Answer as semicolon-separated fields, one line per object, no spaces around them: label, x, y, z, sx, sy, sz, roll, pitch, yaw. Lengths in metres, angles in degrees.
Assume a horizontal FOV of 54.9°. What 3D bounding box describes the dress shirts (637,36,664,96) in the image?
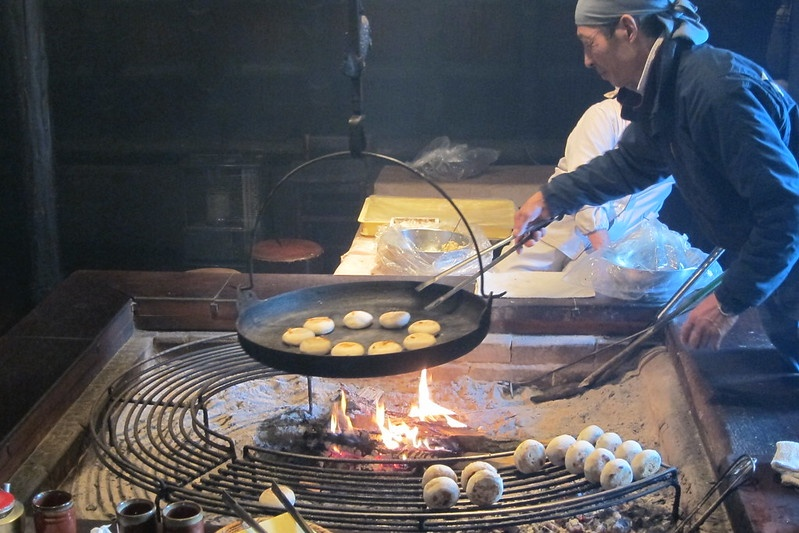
dress shirts;1.177;-0.948;3.649;0.051;0.196;0.203;18;16;11

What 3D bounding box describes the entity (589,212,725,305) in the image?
entity;1.396;-0.021;4.265;0.537;0.227;0.534;10;33;41

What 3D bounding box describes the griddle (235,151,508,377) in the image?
griddle;-0.189;-0.066;3.906;1.434;0.995;1.310;1;-16;-6

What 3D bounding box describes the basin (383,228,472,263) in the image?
basin;0.221;-0.168;5.206;0.603;0.219;0.621;-3;-2;0
